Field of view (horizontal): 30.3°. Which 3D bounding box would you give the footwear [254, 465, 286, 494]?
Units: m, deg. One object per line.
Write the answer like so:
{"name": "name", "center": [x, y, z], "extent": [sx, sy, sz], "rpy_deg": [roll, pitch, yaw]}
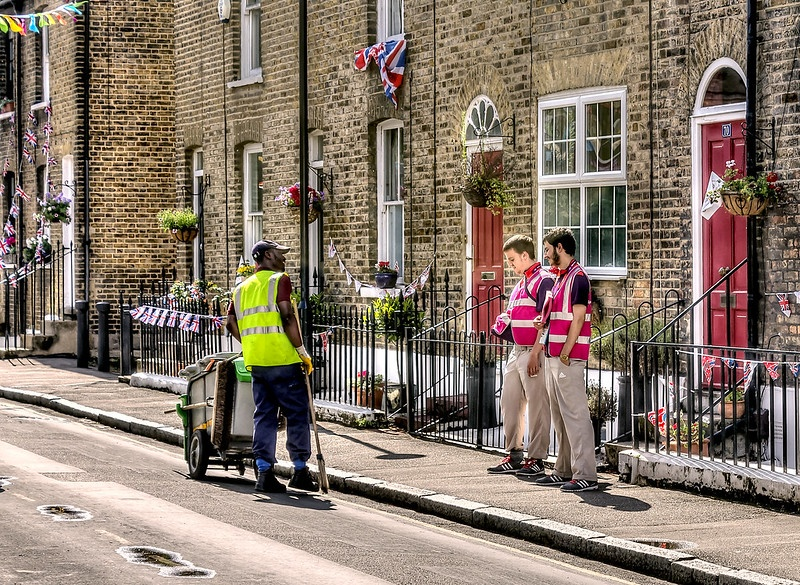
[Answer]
{"name": "footwear", "center": [-1.460, 2.233, 17.492], "extent": [0.170, 0.366, 0.463], "rpy_deg": [2, -2, 40]}

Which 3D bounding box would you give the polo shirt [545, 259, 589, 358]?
{"name": "polo shirt", "center": [1.923, 0.237, 17.189], "extent": [0.453, 1.323, 0.977], "rpy_deg": [4, -2, -6]}

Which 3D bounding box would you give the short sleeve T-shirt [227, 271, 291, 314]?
{"name": "short sleeve T-shirt", "center": [-1.635, 0.056, 17.719], "extent": [0.998, 0.460, 0.387], "rpy_deg": [-3, -7, 37]}

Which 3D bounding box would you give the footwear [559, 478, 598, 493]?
{"name": "footwear", "center": [2.045, 2.227, 17.186], "extent": [0.429, 0.223, 0.166], "rpy_deg": [3, -5, -14]}

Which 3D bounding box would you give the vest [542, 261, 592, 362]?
{"name": "vest", "center": [1.909, 0.246, 17.221], "extent": [0.475, 1.296, 1.004], "rpy_deg": [3, -2, -7]}

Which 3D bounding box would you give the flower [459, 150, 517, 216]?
{"name": "flower", "center": [1.257, -1.705, 22.545], "extent": [0.666, 0.991, 0.882], "rpy_deg": [4, -6, -25]}

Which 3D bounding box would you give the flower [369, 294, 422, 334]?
{"name": "flower", "center": [-0.025, 0.344, 22.728], "extent": [0.586, 0.730, 0.581], "rpy_deg": [4, -9, -14]}

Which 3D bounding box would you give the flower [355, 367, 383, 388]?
{"name": "flower", "center": [-0.467, 1.268, 21.683], "extent": [0.281, 0.166, 0.302], "rpy_deg": [0, -2, 30]}

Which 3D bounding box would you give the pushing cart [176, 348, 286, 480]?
{"name": "pushing cart", "center": [-2.006, 1.412, 17.993], "extent": [0.968, 1.443, 1.388], "rpy_deg": [1, -8, -19]}

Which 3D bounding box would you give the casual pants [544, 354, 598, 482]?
{"name": "casual pants", "center": [1.968, 1.482, 17.313], "extent": [0.592, 1.425, 0.509], "rpy_deg": [-1, -5, 22]}

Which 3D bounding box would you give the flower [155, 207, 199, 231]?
{"name": "flower", "center": [-4.280, -1.399, 28.895], "extent": [0.535, 0.379, 0.577], "rpy_deg": [0, -2, -4]}

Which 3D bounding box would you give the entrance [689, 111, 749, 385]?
{"name": "entrance", "center": [4.272, -0.555, 19.725], "extent": [0.465, 3.494, 0.810], "rpy_deg": [2, -5, -14]}

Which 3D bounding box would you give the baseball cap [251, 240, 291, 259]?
{"name": "baseball cap", "center": [-1.532, -0.532, 17.715], "extent": [0.403, 0.225, 0.280], "rpy_deg": [-14, 4, -12]}

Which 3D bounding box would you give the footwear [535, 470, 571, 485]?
{"name": "footwear", "center": [1.792, 2.211, 17.506], "extent": [0.401, 0.203, 0.167], "rpy_deg": [3, -4, -4]}

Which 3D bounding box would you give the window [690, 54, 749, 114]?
{"name": "window", "center": [4.269, -2.790, 19.812], "extent": [0.728, 0.730, 0.077], "rpy_deg": [1, -3, 34]}

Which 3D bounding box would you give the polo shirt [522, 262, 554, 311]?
{"name": "polo shirt", "center": [1.633, -0.077, 17.636], "extent": [0.145, 0.493, 0.390], "rpy_deg": [2, -3, -27]}
